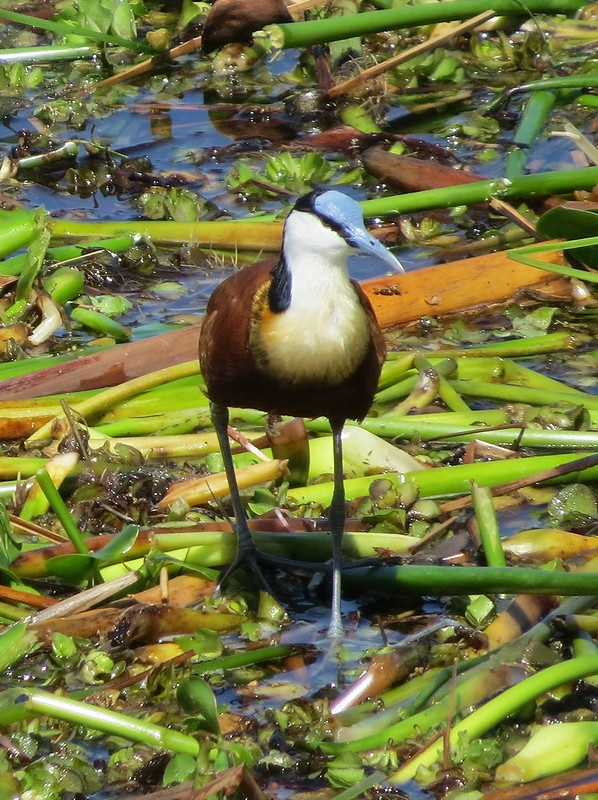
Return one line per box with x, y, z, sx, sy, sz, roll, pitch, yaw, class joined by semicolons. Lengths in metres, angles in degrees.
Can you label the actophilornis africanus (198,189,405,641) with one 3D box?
0.034;0.018;2.167;0.449;1.119;0.661;-14;21;-15;actophilornis africanus
